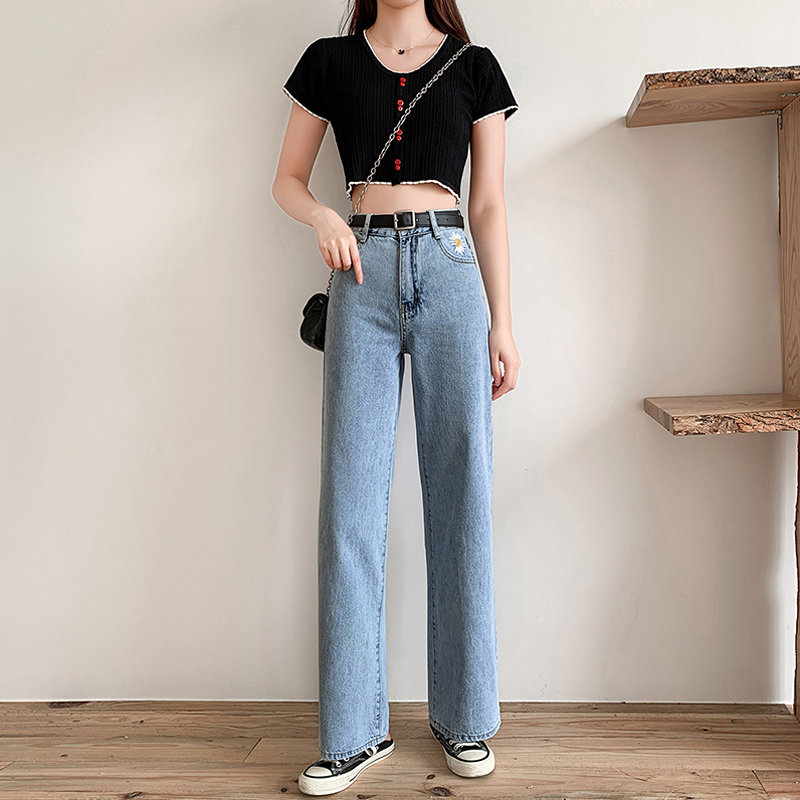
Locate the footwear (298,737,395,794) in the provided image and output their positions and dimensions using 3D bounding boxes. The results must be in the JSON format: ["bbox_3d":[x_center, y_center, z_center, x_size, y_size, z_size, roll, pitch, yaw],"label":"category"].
[{"bbox_3d":[-0.122,0.798,1.965,0.200,0.085,0.069,-1,-3,-43],"label":"footwear"}]

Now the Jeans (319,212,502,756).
[{"bbox_3d":[0.024,0.188,1.961,0.396,1.188,0.185,1,-3,3],"label":"Jeans"}]

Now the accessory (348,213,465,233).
[{"bbox_3d":[0.012,-0.392,1.937,0.253,0.057,0.064,1,-4,3],"label":"accessory"}]

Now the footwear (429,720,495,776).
[{"bbox_3d":[0.138,0.783,1.965,0.148,0.080,0.101,0,-4,13],"label":"footwear"}]
